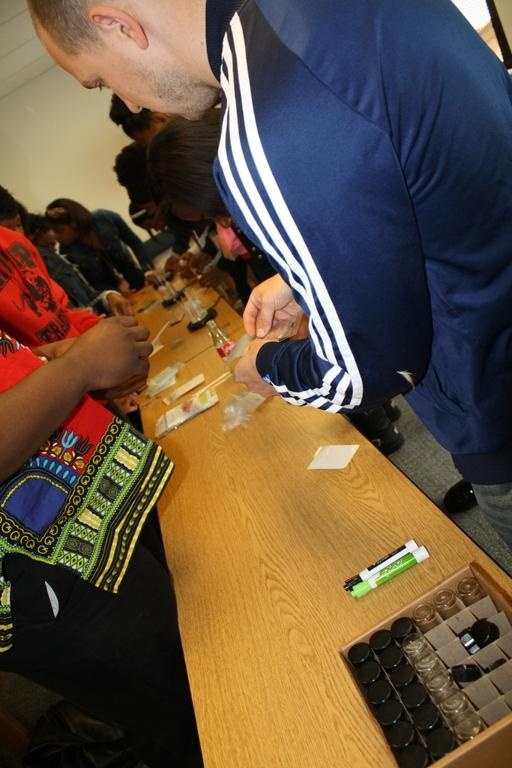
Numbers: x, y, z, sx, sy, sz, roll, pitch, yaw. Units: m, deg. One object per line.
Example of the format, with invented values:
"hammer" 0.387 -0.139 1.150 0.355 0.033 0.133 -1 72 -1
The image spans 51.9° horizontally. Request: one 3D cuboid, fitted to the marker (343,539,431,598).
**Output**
"marker" 0.207 0.293 0.835 0.176 0.037 0.056 -31 46 4
